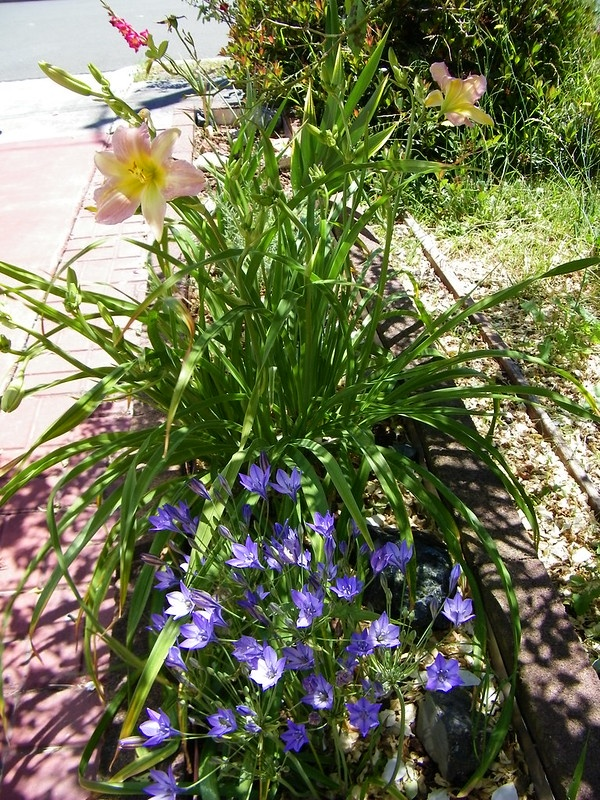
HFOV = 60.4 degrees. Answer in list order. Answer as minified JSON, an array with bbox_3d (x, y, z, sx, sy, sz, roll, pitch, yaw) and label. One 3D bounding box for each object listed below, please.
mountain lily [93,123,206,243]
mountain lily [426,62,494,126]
[{"bbox_3d":[-0.199,-0.280,0.651,0.124,0.144,0.199,-8,23,-21],"label":"mountain lily"},{"bbox_3d":[0.259,-0.515,0.877,0.137,0.043,0.108,18,19,-42],"label":"mountain lily"}]
